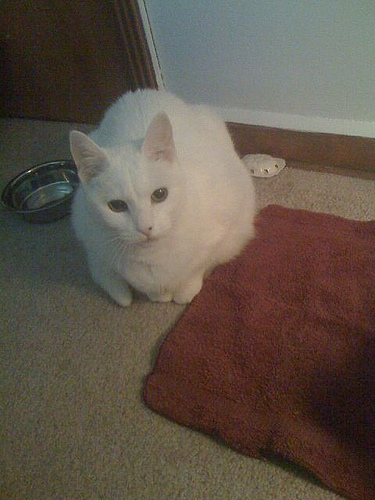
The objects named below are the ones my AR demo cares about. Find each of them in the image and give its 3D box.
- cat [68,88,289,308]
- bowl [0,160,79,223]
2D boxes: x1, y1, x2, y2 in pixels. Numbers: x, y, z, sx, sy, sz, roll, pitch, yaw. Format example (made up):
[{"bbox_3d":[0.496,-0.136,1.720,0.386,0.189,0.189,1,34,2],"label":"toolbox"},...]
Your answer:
[{"bbox_3d":[-0.073,-0.161,1.244,0.428,0.573,0.519,15,47,24],"label":"cat"},{"bbox_3d":[-0.531,-0.203,1.704,0.281,0.140,0.290,-5,41,4],"label":"bowl"}]
